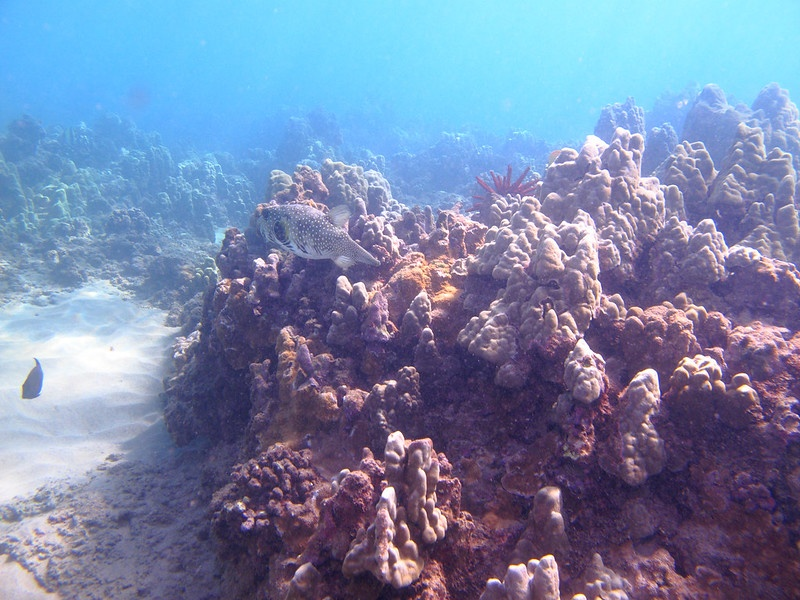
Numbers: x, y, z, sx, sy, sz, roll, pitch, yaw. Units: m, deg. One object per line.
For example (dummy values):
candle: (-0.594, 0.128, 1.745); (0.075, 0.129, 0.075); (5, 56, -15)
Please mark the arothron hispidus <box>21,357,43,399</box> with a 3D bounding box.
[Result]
arothron hispidus: (-8.073, 1.749, 15.080); (0.413, 1.137, 0.880); (-3, 12, -31)
